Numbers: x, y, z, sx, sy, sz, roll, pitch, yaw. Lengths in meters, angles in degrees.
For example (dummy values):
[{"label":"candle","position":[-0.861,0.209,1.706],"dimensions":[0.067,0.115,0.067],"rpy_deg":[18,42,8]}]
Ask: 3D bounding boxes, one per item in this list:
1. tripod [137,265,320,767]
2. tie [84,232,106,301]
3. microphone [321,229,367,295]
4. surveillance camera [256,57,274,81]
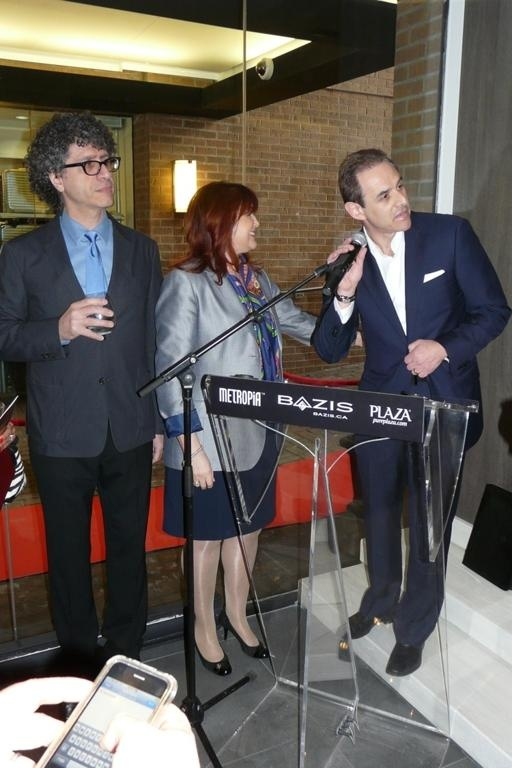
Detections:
[{"label":"tripod","position":[-0.052,0.355,1.533],"dimensions":[0.407,1.283,0.454],"rpy_deg":[-2,16,-3]},{"label":"tie","position":[-0.447,-0.331,1.627],"dimensions":[0.060,0.171,0.074],"rpy_deg":[-6,17,-16]},{"label":"microphone","position":[0.183,-0.258,1.253],"dimensions":[0.063,0.075,0.220],"rpy_deg":[-8,31,35]},{"label":"surveillance camera","position":[0.046,-1.696,3.188],"dimensions":[0.091,0.116,0.197],"rpy_deg":[-1,17,1]}]
